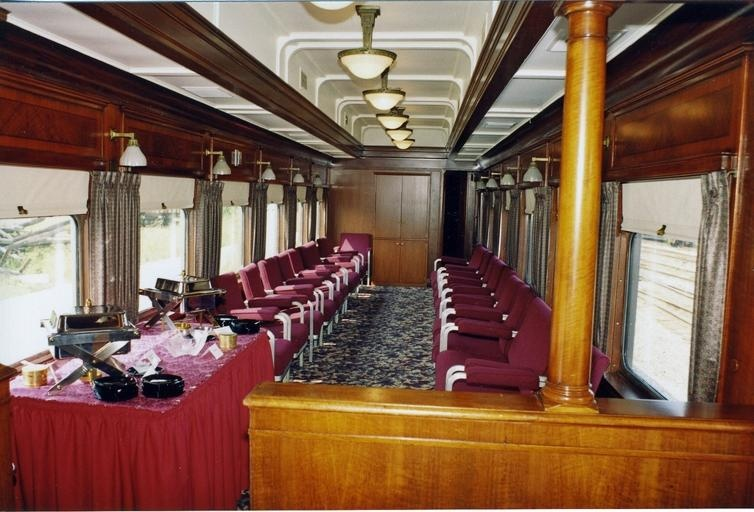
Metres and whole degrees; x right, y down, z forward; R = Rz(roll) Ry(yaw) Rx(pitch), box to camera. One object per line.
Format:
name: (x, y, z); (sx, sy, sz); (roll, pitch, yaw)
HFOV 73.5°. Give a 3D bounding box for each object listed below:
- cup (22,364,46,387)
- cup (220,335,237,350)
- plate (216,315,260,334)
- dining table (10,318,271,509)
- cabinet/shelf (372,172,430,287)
cup: (-2.462, 0.847, 3.650); (0.158, 0.108, 0.152); (2, 2, 0)
cup: (-1.351, 0.775, 4.593); (0.145, 0.103, 0.139); (3, 11, -1)
plate: (-1.418, 0.696, 5.143); (0.335, 0.131, 0.215); (17, -8, 10)
dining table: (-1.584, 1.365, 4.290); (1.105, 0.493, 1.833); (0, 2, 2)
cabinet/shelf: (0.631, -0.675, 12.819); (1.352, 2.732, 0.416); (2, 10, -3)
